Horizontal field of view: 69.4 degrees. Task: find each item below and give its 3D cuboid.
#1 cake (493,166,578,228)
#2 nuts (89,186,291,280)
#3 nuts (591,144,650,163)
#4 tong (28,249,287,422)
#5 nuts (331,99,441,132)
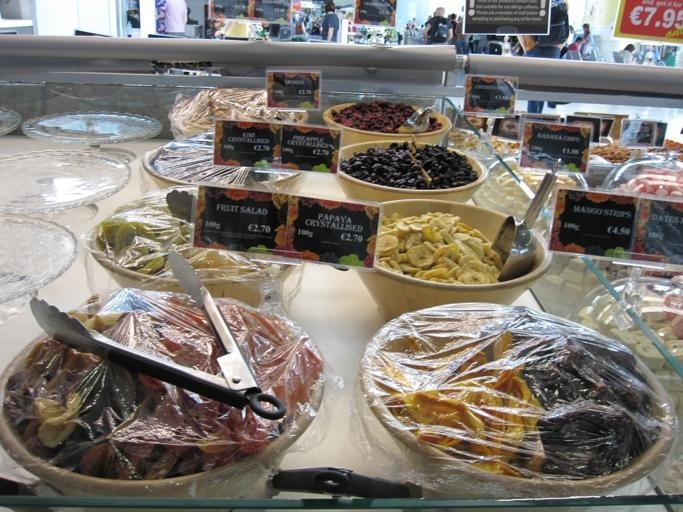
[{"bbox_3d":[0.534,-0.186,1.366,0.312,0.081,0.247,1,25,2],"label":"cake"},{"bbox_3d":[-0.315,-0.075,1.047,0.293,0.087,0.298,24,25,39],"label":"nuts"},{"bbox_3d":[0.959,-0.358,1.731,0.151,0.051,0.144,23,30,39],"label":"nuts"},{"bbox_3d":[-0.293,0.112,0.740,0.323,0.065,0.302,3,38,-29],"label":"tong"},{"bbox_3d":[0.148,-0.500,1.774,0.374,0.084,0.288,3,19,0],"label":"nuts"}]
